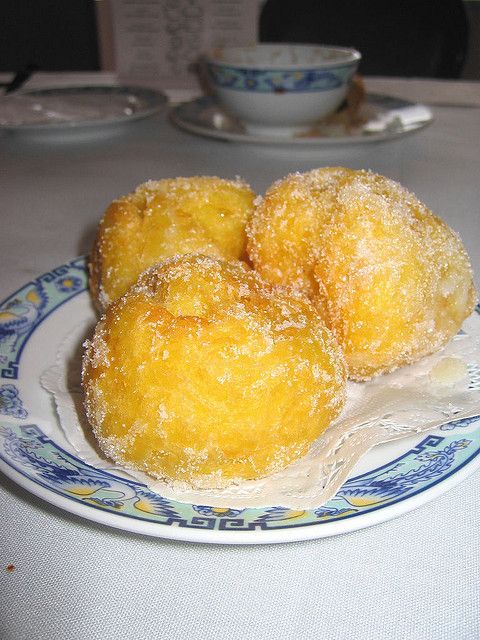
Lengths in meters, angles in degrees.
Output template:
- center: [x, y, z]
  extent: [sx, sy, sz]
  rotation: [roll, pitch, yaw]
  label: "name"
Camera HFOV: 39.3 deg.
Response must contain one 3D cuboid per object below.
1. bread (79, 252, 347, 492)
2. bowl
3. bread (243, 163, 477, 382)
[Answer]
- center: [-0.017, 0.020, 0.577]
  extent: [0.239, 0.125, 0.200]
  rotation: [0, 29, 1]
  label: "bread"
- center: [0.058, -0.316, 0.959]
  extent: [0.208, 0.075, 0.182]
  rotation: [6, 18, 21]
  label: "bowl"
- center: [0.151, -0.057, 0.738]
  extent: [0.248, 0.197, 0.130]
  rotation: [-12, 8, 28]
  label: "bread"
